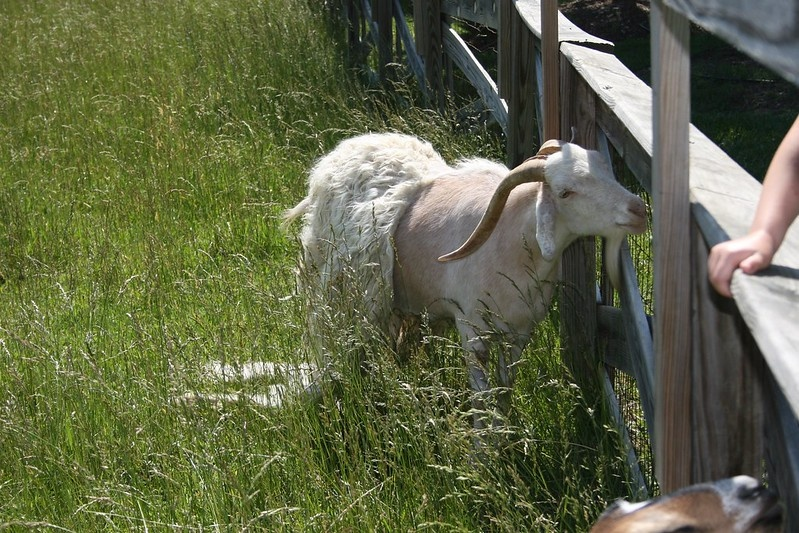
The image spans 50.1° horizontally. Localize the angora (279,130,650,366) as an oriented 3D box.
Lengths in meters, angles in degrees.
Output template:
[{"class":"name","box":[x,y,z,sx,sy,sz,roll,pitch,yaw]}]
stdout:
[{"class":"angora","box":[0.219,0.087,4.396,1.894,1.589,0.798,15,19,36]}]
